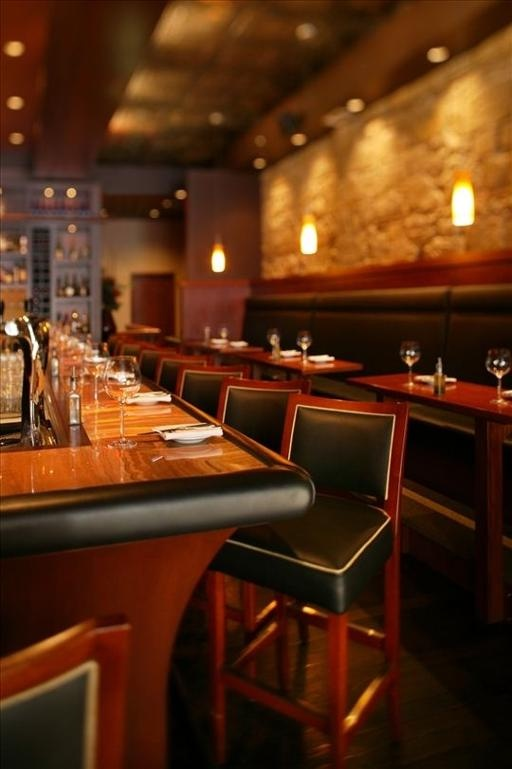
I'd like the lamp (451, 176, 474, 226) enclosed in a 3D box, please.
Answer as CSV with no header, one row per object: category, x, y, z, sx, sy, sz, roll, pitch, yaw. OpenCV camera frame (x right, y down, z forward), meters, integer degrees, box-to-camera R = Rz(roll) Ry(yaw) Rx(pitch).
lamp,1.488,-1.315,4.133,0.136,0.315,0.115,1,4,12

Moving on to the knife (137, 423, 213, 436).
knife,-0.220,0.113,1.405,0.190,0.022,0.129,3,5,37

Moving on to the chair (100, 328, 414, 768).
chair,0.157,0.479,1.684,0.571,0.917,0.898,0,4,2

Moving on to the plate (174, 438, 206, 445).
plate,-0.147,0.129,1.296,0.074,0.010,0.048,-1,4,-13
